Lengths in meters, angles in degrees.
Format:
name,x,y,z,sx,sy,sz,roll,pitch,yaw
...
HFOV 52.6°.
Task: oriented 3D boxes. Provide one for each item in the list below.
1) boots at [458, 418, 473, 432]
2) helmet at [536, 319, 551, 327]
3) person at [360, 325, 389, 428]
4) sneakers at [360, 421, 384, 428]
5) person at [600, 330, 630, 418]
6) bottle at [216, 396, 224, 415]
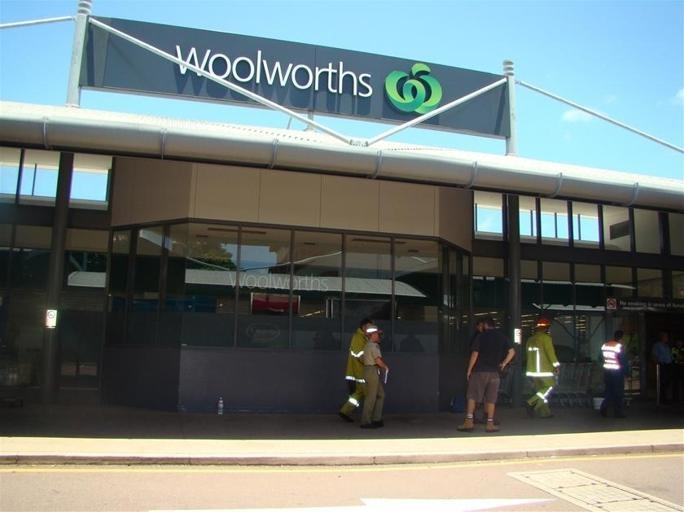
name,x,y,z,sx,sy,sz,roll,pitch,yaw
boots,2.670,3.647,15.061,0.182,0.317,0.444,3,-1,-21
helmet,4.927,1.640,16.972,0.290,0.165,0.215,13,8,27
person,0.743,2.638,15.347,0.556,2.232,0.573,-1,-7,18
sneakers,0.666,3.703,15.252,0.508,0.234,0.174,6,-12,-12
person,6.906,2.963,17.677,0.591,2.083,1.320,-2,-7,22
bottle,-2.864,3.490,16.295,0.165,0.398,0.056,2,-7,-12
